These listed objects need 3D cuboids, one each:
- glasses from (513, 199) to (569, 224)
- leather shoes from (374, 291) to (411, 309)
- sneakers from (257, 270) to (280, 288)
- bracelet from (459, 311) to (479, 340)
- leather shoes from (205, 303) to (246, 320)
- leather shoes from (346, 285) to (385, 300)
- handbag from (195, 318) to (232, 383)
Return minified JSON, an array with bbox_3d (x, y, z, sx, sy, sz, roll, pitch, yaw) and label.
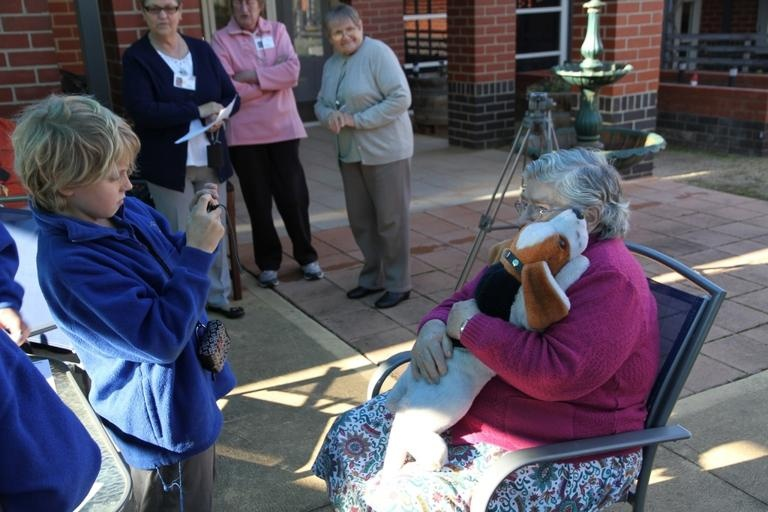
[{"bbox_3d":[0.653,-0.187,2.559,0.142,0.079,0.113,0,9,-6],"label":"glasses"},{"bbox_3d":[0.061,0.324,4.890,0.247,0.100,0.127,-7,18,-18],"label":"leather shoes"},{"bbox_3d":[-0.980,0.198,5.271,0.149,0.139,0.325,0,0,-3],"label":"sneakers"},{"bbox_3d":[0.351,0.277,2.509,0.024,0.098,0.092,33,24,9],"label":"bracelet"},{"bbox_3d":[-1.229,0.406,4.819,0.277,0.084,0.120,6,16,20],"label":"leather shoes"},{"bbox_3d":[-0.155,0.277,5.072,0.302,0.123,0.108,-6,19,-21],"label":"leather shoes"},{"bbox_3d":[-0.700,0.390,2.550,0.075,0.207,0.193,7,65,4],"label":"handbag"}]
